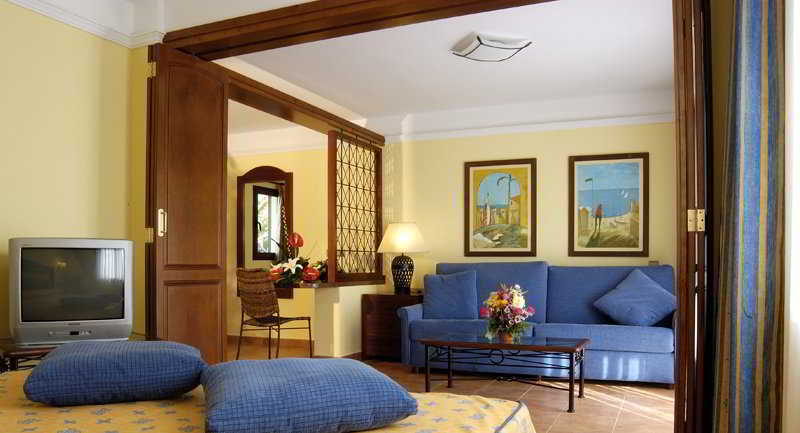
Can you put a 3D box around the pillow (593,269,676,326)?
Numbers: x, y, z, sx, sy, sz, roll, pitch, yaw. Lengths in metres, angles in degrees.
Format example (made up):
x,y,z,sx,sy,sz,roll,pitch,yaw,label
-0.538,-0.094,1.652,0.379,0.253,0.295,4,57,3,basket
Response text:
x,y,z,sx,sy,sz,roll,pitch,yaw,label
2.712,0.948,6.498,0.862,0.577,0.511,-1,4,9,pillow

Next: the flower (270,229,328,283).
x,y,z,sx,sy,sz,roll,pitch,yaw,label
-1.363,0.595,7.671,0.845,0.415,0.783,5,-11,-15,flower

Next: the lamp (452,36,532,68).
x,y,z,sx,sy,sz,roll,pitch,yaw,label
0.968,-1.802,5.995,0.806,0.152,0.435,-1,3,-6,lamp

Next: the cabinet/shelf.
x,y,z,sx,sy,sz,roll,pitch,yaw,label
-0.074,1.462,7.724,1.018,1.189,0.876,-3,-7,24,cabinet/shelf

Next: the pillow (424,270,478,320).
x,y,z,sx,sy,sz,roll,pitch,yaw,label
0.640,1.007,7.054,0.643,0.522,0.208,-1,-25,6,pillow

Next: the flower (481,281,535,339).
x,y,z,sx,sy,sz,roll,pitch,yaw,label
1.064,0.976,6.221,0.659,0.749,0.684,0,-1,-1,flower
